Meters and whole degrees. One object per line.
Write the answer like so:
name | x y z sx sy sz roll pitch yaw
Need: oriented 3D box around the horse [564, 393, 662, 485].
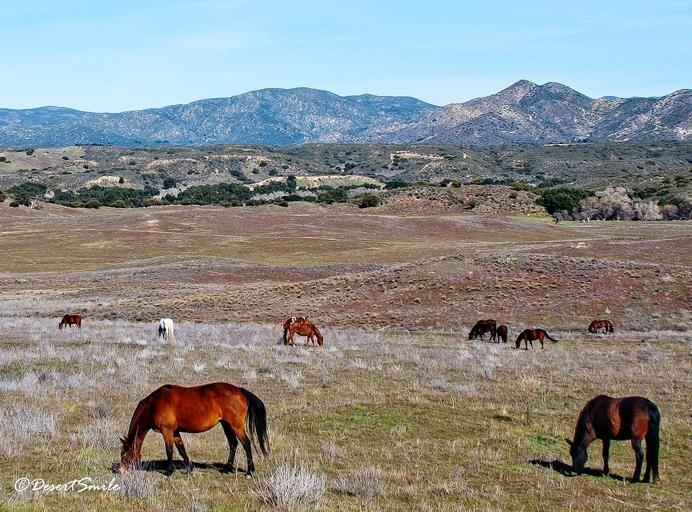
horse | 5.969 4.065 14.501 0.726 1.736 2.367 20 -24 -24
